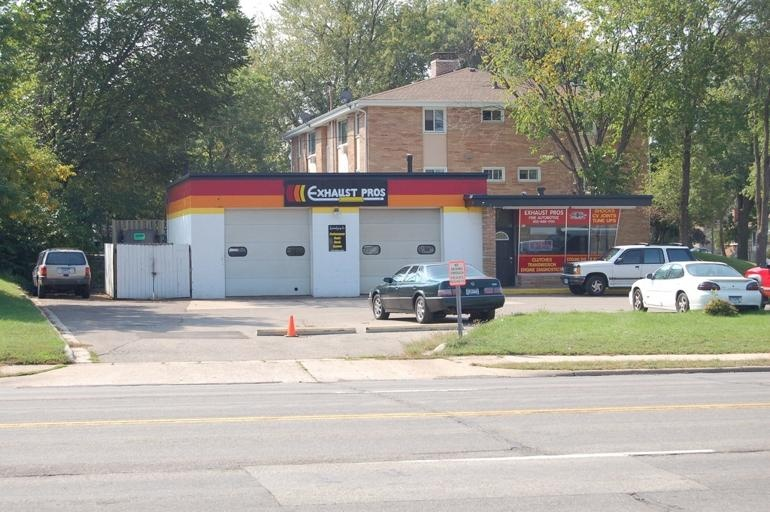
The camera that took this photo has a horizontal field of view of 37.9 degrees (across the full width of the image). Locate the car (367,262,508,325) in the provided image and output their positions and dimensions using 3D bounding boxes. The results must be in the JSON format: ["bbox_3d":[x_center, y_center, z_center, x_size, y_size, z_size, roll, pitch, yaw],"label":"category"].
[{"bbox_3d":[1.862,1.460,42.283,4.826,2.216,2.115,-3,-5,45],"label":"car"}]

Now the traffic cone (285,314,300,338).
[{"bbox_3d":[-3.108,2.533,39.539,0.665,0.809,0.689,2,-6,-31],"label":"traffic cone"}]

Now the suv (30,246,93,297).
[{"bbox_3d":[-14.974,0.897,52.152,2.316,2.166,1.892,1,-4,-20],"label":"suv"}]

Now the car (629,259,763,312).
[{"bbox_3d":[11.318,1.169,41.900,1.793,1.884,4.637,3,-4,-41],"label":"car"}]

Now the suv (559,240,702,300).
[{"bbox_3d":[11.628,0.657,53.745,5.261,1.956,2.616,0,-1,-1],"label":"suv"}]
